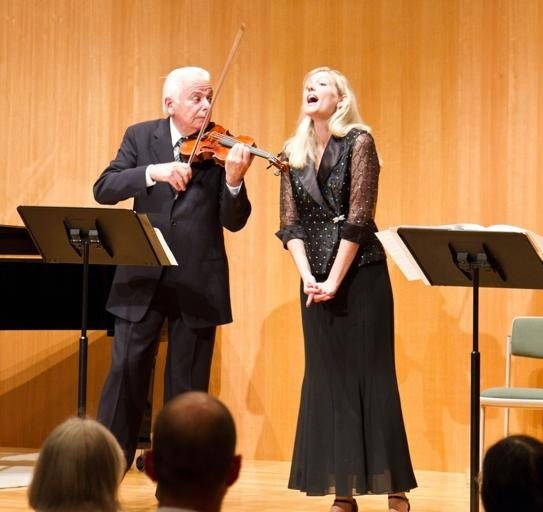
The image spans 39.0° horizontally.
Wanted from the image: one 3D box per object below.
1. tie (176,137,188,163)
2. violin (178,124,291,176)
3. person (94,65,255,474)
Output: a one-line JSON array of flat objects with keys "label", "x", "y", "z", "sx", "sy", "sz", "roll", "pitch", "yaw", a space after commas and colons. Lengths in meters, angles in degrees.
[{"label": "tie", "x": -0.409, "y": -0.471, "z": 3.466, "sx": 0.049, "sy": 0.116, "sz": 0.025, "roll": -2, "pitch": -5, "yaw": 27}, {"label": "violin", "x": -0.190, "y": -0.413, "z": 3.409, "sx": 0.471, "sy": 0.092, "sz": 0.228, "roll": 32, "pitch": 49, "yaw": 24}, {"label": "person", "x": -0.456, "y": 0.124, "z": 3.386, "sx": 0.472, "sy": 1.907, "sz": 0.708, "roll": 5, "pitch": 9, "yaw": -9}]
